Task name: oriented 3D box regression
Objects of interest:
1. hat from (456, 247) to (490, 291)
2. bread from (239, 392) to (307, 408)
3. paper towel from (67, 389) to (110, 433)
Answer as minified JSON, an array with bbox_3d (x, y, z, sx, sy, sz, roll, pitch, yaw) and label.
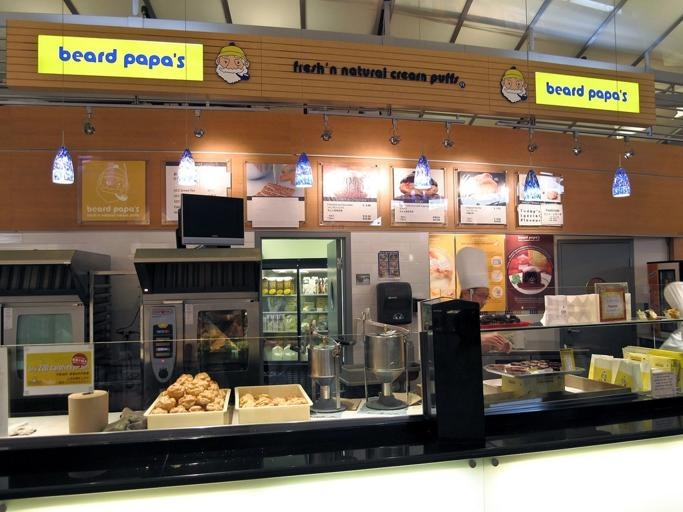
[{"bbox_3d":[1.530,0.140,6.819,0.408,0.415,0.442,-11,-17,-5],"label":"hat"},{"bbox_3d":[-0.484,0.999,4.165,0.474,0.083,0.112,-2,-2,-4],"label":"bread"},{"bbox_3d":[-1.741,1.082,4.087,0.257,0.280,0.266,-3,-1,39],"label":"paper towel"}]
